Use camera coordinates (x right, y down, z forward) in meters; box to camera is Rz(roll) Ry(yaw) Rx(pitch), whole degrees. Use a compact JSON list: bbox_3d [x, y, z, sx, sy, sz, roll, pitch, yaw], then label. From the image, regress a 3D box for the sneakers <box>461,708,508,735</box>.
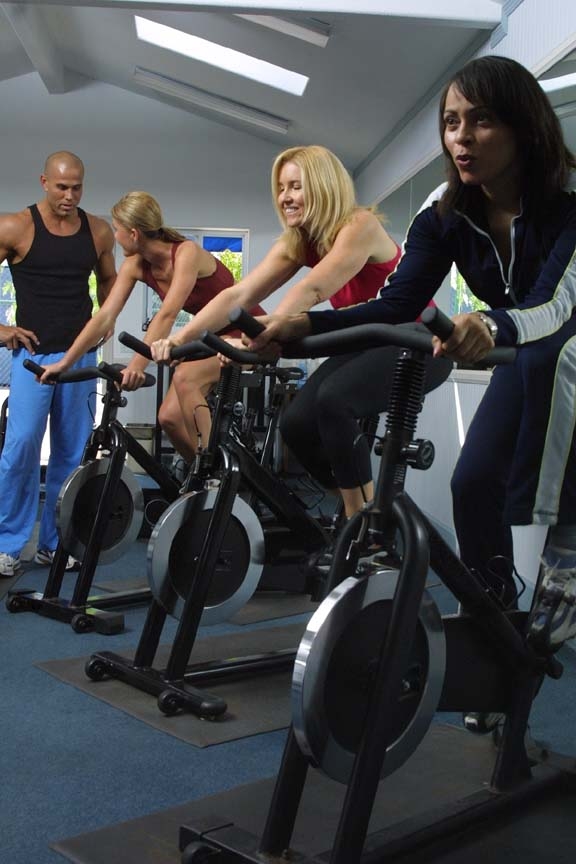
[{"bbox_3d":[0.432,0.645,1.499,0.115,0.045,0.065,1,-4,-23],"label":"sneakers"}]
